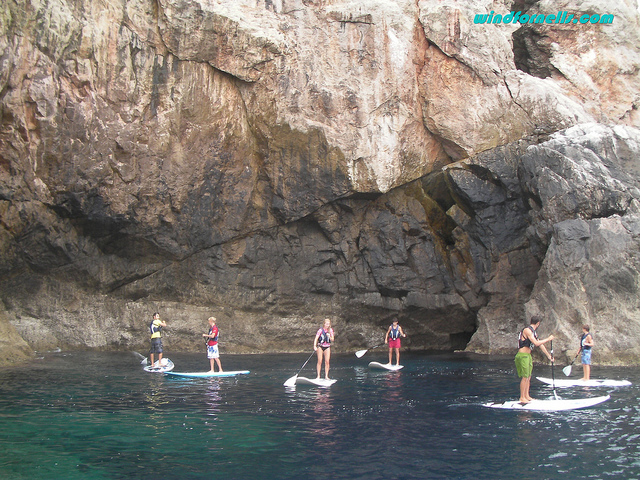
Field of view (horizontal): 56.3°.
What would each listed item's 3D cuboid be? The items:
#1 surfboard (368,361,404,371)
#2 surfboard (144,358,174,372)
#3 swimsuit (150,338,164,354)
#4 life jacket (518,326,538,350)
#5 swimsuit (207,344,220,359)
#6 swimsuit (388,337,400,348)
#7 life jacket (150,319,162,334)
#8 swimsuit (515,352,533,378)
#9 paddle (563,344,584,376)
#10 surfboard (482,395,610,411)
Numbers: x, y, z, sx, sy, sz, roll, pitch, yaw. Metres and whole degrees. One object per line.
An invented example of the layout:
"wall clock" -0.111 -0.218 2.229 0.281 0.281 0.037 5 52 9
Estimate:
"surfboard" 2.738 5.285 25.340 1.367 0.290 1.143 0 1 8
"surfboard" -6.381 4.944 23.633 1.068 0.337 1.360 0 1 -2
"swimsuit" -6.498 4.180 23.802 0.390 0.729 0.710 0 1 -19
"life jacket" 6.118 2.883 17.795 0.461 0.711 0.609 0 1 16
"swimsuit" -4.163 4.292 23.268 0.369 0.565 0.479 0 1 -14
"swimsuit" 3.225 4.495 26.137 0.565 0.551 0.334 0 -8 9
"life jacket" -6.482 3.368 23.627 0.319 0.631 0.848 0 1 -22
"swimsuit" 5.951 3.671 17.631 0.400 0.785 0.381 1 1 30
"paddle" 9.875 4.687 23.493 1.640 0.372 0.069 -50 16 -26
"surfboard" 6.734 4.887 17.835 3.649 0.166 0.959 0 1 -2
